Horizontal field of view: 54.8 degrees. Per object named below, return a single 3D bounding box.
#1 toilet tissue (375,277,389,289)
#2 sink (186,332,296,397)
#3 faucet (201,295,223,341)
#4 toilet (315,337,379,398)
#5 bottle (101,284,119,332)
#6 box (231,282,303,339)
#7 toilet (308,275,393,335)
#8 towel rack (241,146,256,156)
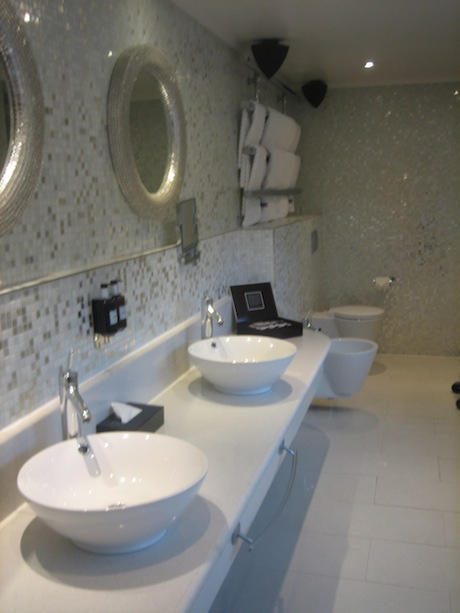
[{"bbox_3d":[1.461,-0.218,4.233,0.122,0.115,0.093,1,8,23],"label":"toilet tissue"},{"bbox_3d":[0.046,0.221,1.732,0.408,0.162,0.575,-4,8,-11],"label":"sink"},{"bbox_3d":[-0.086,0.056,1.966,0.083,0.199,0.305,-2,8,-5],"label":"faucet"},{"bbox_3d":[0.819,0.411,3.109,0.393,0.479,0.407,-3,6,6],"label":"toilet"},{"bbox_3d":[-0.356,0.011,1.303,0.033,0.160,0.082,-3,13,6],"label":"bottle"},{"bbox_3d":[0.174,0.031,2.500,0.231,0.337,0.361,-4,9,-24],"label":"box"},{"bbox_3d":[1.092,0.057,4.059,0.697,0.472,0.627,2,25,17],"label":"toilet"},{"bbox_3d":[0.120,-0.969,2.764,0.107,0.046,0.025,-8,9,-34],"label":"towel rack"}]
